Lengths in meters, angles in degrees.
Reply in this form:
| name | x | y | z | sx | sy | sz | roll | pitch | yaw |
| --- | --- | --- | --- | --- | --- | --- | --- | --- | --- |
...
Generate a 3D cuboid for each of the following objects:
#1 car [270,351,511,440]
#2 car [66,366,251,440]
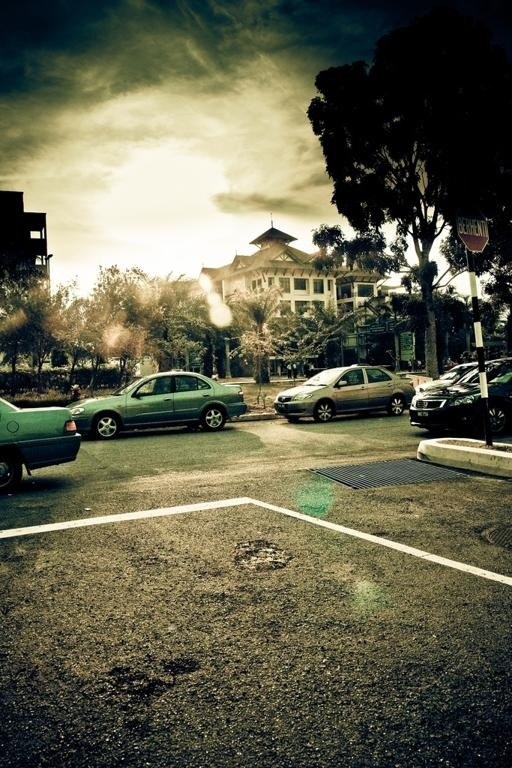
| name | x | y | z | sx | sy | sz | roll | pitch | yaw |
| --- | --- | --- | --- | --- | --- | --- | --- | --- | --- |
| car | 3.350 | 0.221 | 14.367 | 3.008 | 1.445 | 6.152 | -2 | 2 | -30 |
| car | -2.168 | 0.511 | 14.416 | 3.366 | 1.325 | 1.430 | 3 | -6 | -21 |
